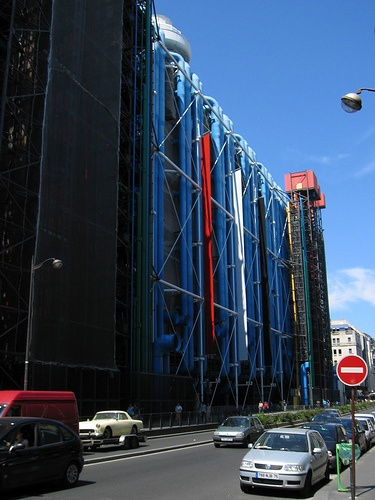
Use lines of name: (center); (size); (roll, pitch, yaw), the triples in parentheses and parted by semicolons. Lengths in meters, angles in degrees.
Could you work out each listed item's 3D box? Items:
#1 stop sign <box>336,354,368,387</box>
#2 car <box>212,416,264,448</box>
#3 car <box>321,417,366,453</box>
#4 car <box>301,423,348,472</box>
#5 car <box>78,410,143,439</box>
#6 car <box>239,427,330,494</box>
stop sign: (2.356, 1.725, 6.544); (0.392, 0.512, 0.099); (-3, -11, 38)
car: (2.231, 7.593, 18.973); (1.246, 1.242, 2.523); (-12, -34, 21)
car: (5.086, 5.777, 14.698); (0.987, 1.079, 2.081); (-11, -40, 23)
car: (3.522, 4.824, 11.529); (0.980, 1.018, 1.995); (-11, -40, 18)
car: (-2.847, 6.566, 17.285); (0.877, 0.937, 3.179); (-7, -20, 22)
car: (1.751, 3.847, 8.362); (1.171, 1.022, 2.192); (-9, -20, 25)
